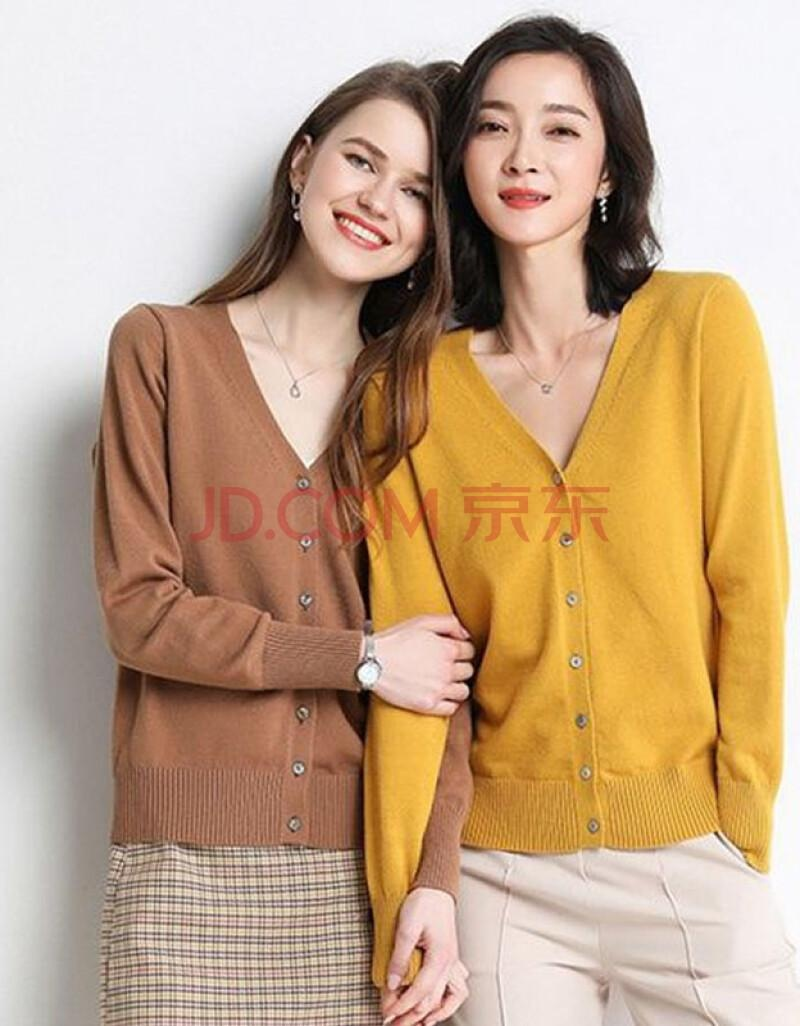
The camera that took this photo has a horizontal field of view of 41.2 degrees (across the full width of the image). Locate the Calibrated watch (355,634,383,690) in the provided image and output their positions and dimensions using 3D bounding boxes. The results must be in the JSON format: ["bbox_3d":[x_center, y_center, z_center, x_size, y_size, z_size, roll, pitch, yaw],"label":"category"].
[{"bbox_3d":[-0.046,0.223,1.513,0.041,0.066,0.073,0,14,-6],"label":"Calibrated watch"}]

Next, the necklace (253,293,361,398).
[{"bbox_3d":[-0.155,-0.267,1.703,0.218,0.026,0.130,21,58,-32],"label":"necklace"}]

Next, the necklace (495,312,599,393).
[{"bbox_3d":[0.227,-0.246,1.667,0.164,0.120,0.049,9,2,31],"label":"necklace"}]
